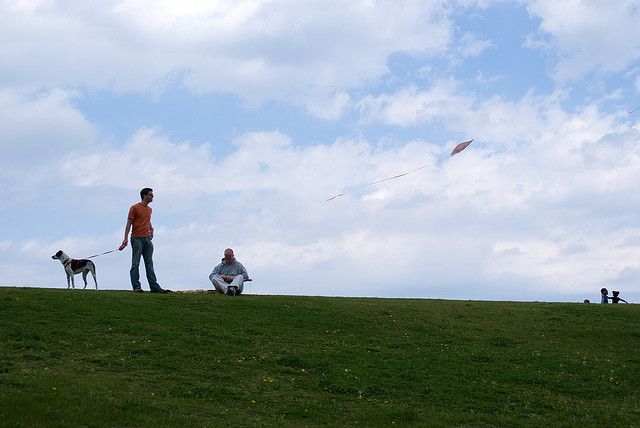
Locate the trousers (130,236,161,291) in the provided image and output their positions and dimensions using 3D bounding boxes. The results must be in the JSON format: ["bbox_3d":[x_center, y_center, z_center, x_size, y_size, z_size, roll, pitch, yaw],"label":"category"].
[{"bbox_3d":[-6.776,1.896,25.633,1.007,2.148,1.865,-1,-5,-14],"label":"trousers"}]

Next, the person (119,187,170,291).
[{"bbox_3d":[-7.013,0.978,26.021,0.735,3.967,1.542,-4,-6,27],"label":"person"}]

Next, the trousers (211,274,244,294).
[{"bbox_3d":[-3.882,2.905,27.805,1.342,0.791,0.565,-2,-5,0],"label":"trousers"}]
